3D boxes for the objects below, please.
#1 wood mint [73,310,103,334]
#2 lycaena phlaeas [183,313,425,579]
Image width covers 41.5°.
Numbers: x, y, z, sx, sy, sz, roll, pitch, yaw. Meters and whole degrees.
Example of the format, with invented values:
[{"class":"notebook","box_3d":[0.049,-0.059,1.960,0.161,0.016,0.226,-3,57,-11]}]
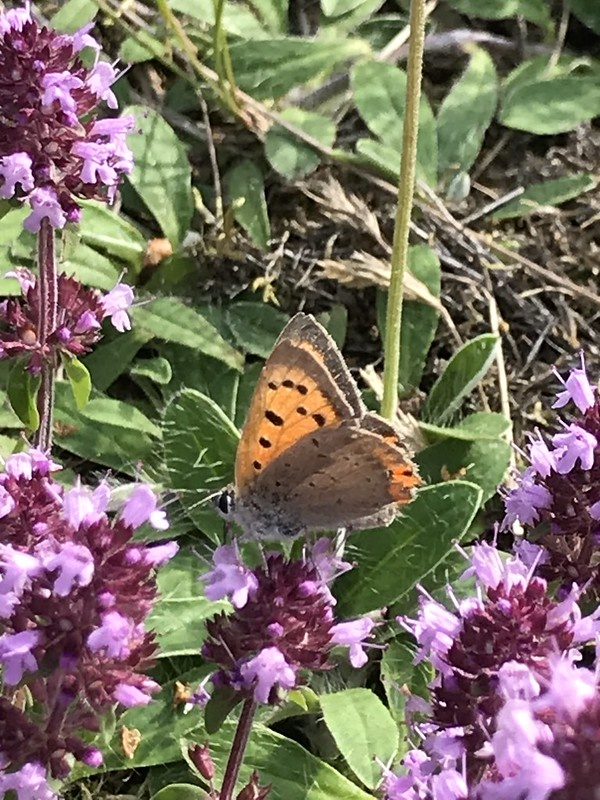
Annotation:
[{"class":"wood mint","box_3d":[-0.539,-0.195,2.011,0.047,0.056,0.065,-40,48,-13]},{"class":"lycaena phlaeas","box_3d":[0.034,0.105,1.889,0.587,0.597,0.412,-3,67,-8]}]
